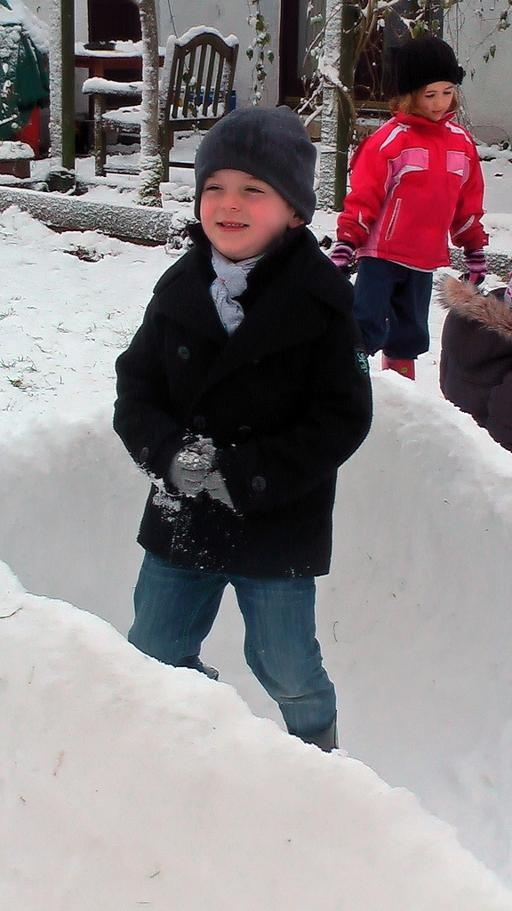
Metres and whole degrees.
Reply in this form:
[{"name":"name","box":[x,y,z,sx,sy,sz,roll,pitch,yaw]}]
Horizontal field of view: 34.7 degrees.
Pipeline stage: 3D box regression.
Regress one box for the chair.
[{"name":"chair","box":[-0.792,-2.991,7.017,0.959,1.326,1.048,22,32,30]}]

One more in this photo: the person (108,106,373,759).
[{"name":"person","box":[-0.040,-0.014,1.466,0.496,1.174,0.305,8,14,8]}]

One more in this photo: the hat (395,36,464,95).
[{"name":"hat","box":[0.665,-1.512,3.181,0.264,0.229,0.231,7,14,7]}]

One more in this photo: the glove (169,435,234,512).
[{"name":"glove","box":[-0.096,0.025,1.358,0.122,0.092,0.056,28,21,30]}]
